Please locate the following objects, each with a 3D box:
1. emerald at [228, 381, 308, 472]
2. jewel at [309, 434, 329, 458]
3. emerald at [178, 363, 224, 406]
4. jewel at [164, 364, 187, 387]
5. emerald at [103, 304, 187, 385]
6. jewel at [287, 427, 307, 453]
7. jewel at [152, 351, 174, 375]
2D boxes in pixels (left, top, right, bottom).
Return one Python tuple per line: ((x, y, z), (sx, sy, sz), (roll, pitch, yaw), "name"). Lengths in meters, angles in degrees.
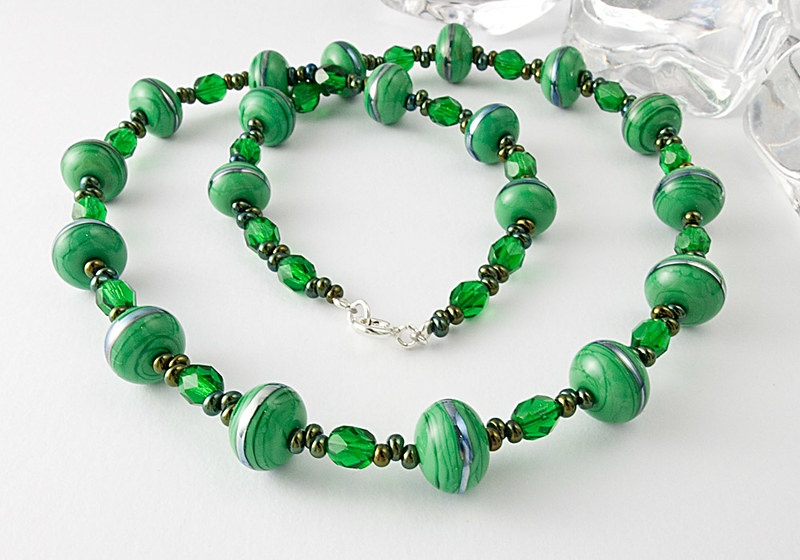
((-0.266, 0.288, 1.775), (0.142, 0.079, 0.171), (32, -85, -3), "emerald")
((-0.161, 0.328, 1.781), (0.034, 0.021, 0.045), (10, -84, -1), "jewel")
((-0.411, 0.201, 1.849), (0.080, 0.051, 0.078), (28, -67, 18), "emerald")
((-0.466, 0.194, 1.846), (0.041, 0.043, 0.016), (-32, -45, -10), "jewel")
((-0.534, 0.130, 1.866), (0.152, 0.072, 0.149), (-43, -86, 4), "emerald")
((-0.203, 0.316, 1.769), (0.017, 0.042, 0.042), (19, -65, 6), "jewel")
((-0.492, 0.170, 1.854), (0.041, 0.010, 0.043), (34, -100, 22), "jewel")
